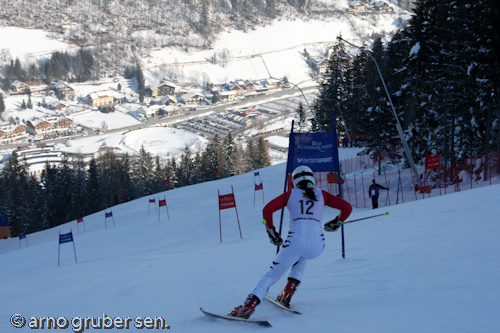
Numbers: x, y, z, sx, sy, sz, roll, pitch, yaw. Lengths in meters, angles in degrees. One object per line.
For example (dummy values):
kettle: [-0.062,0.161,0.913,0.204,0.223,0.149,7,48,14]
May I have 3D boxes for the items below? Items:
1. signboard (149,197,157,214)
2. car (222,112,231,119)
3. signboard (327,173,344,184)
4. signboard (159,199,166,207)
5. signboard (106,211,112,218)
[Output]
signboard: [-25.789,10.294,219.679,3.897,4.529,0.328,2,-13,-17]
car: [-8.798,-19.637,315.420,1.982,1.559,3.510,-3,4,43]
signboard: [20.943,2.894,205.708,2.578,1.923,0.389,18,-6,35]
signboard: [-22.683,9.280,214.960,2.320,0.177,2.569,-7,41,3]
signboard: [-36.999,12.397,218.098,1.510,1.435,2.395,-6,3,-11]
